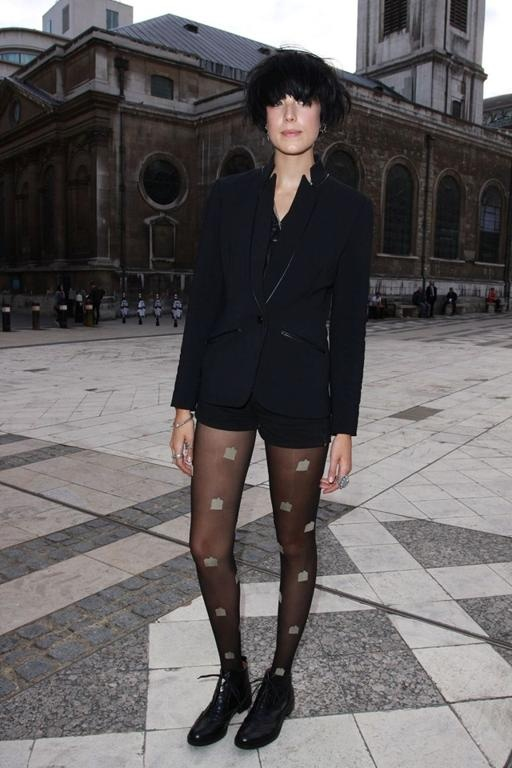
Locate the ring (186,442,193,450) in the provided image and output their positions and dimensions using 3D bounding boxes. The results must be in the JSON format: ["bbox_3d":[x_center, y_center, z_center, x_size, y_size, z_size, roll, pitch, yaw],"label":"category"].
[{"bbox_3d":[-0.190,0.179,1.798,0.015,0.024,0.025,5,9,16],"label":"ring"}]

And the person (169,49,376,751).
[{"bbox_3d":[0.042,0.059,1.778,0.562,1.985,0.321,0,6,-9],"label":"person"}]

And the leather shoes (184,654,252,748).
[{"bbox_3d":[-0.094,0.943,1.863,0.105,0.161,0.286,1,1,24],"label":"leather shoes"}]

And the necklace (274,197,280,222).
[{"bbox_3d":[0.057,-0.480,1.695,0.012,0.068,0.030,-2,7,-26],"label":"necklace"}]

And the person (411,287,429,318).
[{"bbox_3d":[8.196,-4.069,30.810,0.733,1.383,1.188,2,6,10],"label":"person"}]

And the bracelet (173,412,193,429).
[{"bbox_3d":[-0.205,0.104,1.766,0.051,0.019,0.037,-22,-7,41],"label":"bracelet"}]

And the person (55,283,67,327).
[{"bbox_3d":[-6.919,-2.760,22.053,0.352,1.484,1.643,-1,7,-19],"label":"person"}]

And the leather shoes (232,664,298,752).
[{"bbox_3d":[0.049,0.949,1.844,0.091,0.133,0.272,1,-5,22],"label":"leather shoes"}]
